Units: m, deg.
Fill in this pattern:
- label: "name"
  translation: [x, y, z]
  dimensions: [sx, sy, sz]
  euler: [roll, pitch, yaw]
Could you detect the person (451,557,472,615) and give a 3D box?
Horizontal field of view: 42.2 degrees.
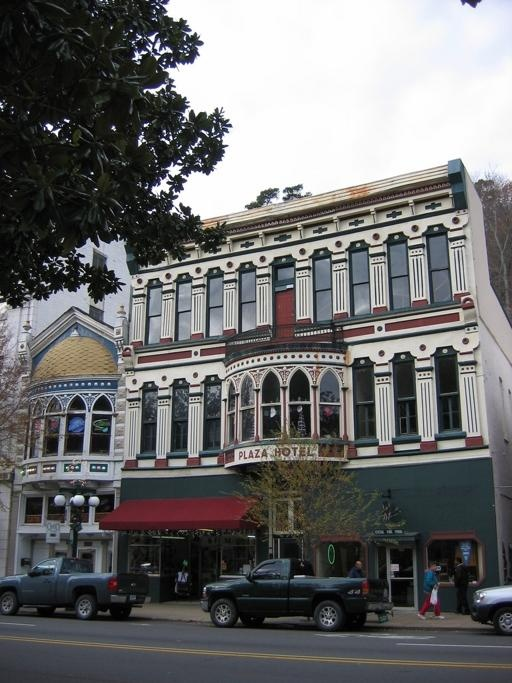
- label: "person"
  translation: [6.192, 7.354, 20.016]
  dimensions: [0.476, 1.608, 1.445]
  euler: [-6, -19, 15]
